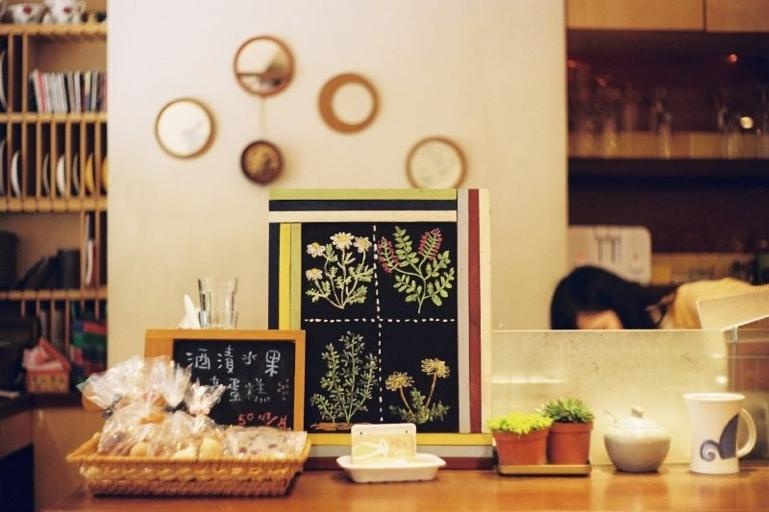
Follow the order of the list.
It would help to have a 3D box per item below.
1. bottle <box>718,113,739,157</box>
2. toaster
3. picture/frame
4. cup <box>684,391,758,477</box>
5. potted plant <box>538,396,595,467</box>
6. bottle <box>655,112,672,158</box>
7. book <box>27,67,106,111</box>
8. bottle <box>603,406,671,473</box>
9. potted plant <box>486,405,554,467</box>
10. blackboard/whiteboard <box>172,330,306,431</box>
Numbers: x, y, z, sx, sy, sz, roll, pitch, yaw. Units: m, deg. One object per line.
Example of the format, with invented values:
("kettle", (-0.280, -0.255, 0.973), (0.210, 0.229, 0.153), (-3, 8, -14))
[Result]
("bottle", (1.467, -0.499, 3.442), (0.092, 0.176, 0.043), (-1, 4, 9))
("toaster", (0.963, -0.005, 3.316), (0.347, 0.230, 0.071), (-1, 2, 2))
("picture/frame", (-0.016, 0.320, 3.145), (1.078, 1.253, 0.098), (-1, -3, 0))
("cup", (1.347, 0.692, 3.232), (0.313, 0.301, 0.234), (-2, -4, 6))
("potted plant", (0.731, 0.703, 3.202), (0.183, 0.219, 0.193), (0, -4, -22))
("bottle", (1.185, -0.502, 3.435), (0.061, 0.191, 0.018), (-1, -4, -10))
("book", (-1.387, -0.702, 3.563), (0.254, 0.084, 0.202), (0, -1, -1))
("bottle", (0.979, 0.726, 3.280), (0.238, 0.234, 0.256), (1, -8, -6))
("potted plant", (0.520, 0.690, 3.094), (0.200, 0.138, 0.196), (0, -12, -1))
("blackboard/whiteboard", (-0.561, 0.483, 3.098), (0.388, 0.299, 0.041), (0, -12, -1))
